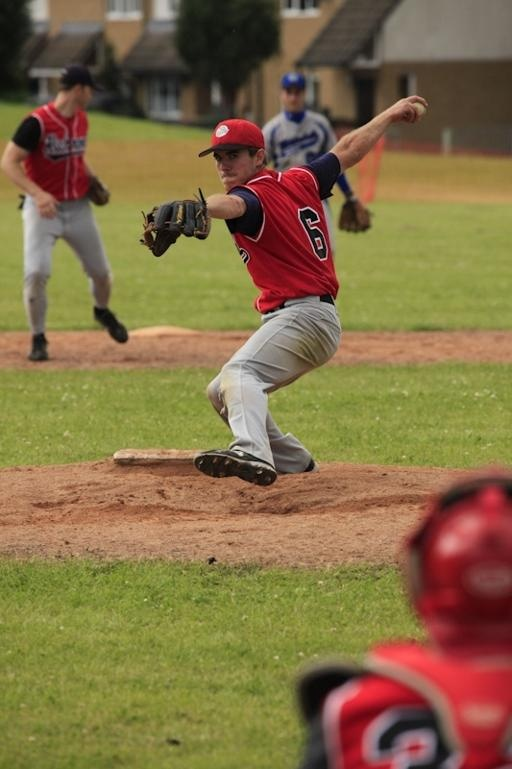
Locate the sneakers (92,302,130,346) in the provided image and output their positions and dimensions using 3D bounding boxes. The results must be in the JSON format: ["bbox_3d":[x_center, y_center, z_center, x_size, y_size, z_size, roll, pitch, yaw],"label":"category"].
[{"bbox_3d":[-0.819,-0.341,6.247,0.094,0.228,0.137,-44,5,-7],"label":"sneakers"}]

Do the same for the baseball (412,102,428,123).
[{"bbox_3d":[0.790,-1.329,5.392,0.078,0.074,0.248,13,14,12],"label":"baseball"}]

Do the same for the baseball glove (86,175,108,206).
[{"bbox_3d":[-0.950,-1.155,6.579,0.059,0.158,0.123,-31,3,-25],"label":"baseball glove"}]

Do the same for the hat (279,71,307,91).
[{"bbox_3d":[0.316,-2.646,9.638,0.267,0.169,0.403,1,1,1],"label":"hat"}]

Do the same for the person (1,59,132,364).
[{"bbox_3d":[-1.121,-0.965,6.202,0.670,1.593,0.471,-11,17,-40],"label":"person"}]

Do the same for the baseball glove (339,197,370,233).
[{"bbox_3d":[0.770,-1.384,9.367,0.108,0.336,0.246,-14,36,31],"label":"baseball glove"}]

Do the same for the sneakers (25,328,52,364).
[{"bbox_3d":[-1.202,-0.208,6.103,0.111,0.147,0.180,-3,12,-10],"label":"sneakers"}]

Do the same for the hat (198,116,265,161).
[{"bbox_3d":[-0.096,-1.038,4.656,0.304,0.143,0.206,-3,1,-34],"label":"hat"}]

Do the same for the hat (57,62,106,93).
[{"bbox_3d":[-0.968,-1.708,6.194,0.221,0.108,0.136,-7,21,-21],"label":"hat"}]

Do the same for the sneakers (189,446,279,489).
[{"bbox_3d":[-0.090,0.316,4.446,0.397,0.121,0.198,16,17,-7],"label":"sneakers"}]
